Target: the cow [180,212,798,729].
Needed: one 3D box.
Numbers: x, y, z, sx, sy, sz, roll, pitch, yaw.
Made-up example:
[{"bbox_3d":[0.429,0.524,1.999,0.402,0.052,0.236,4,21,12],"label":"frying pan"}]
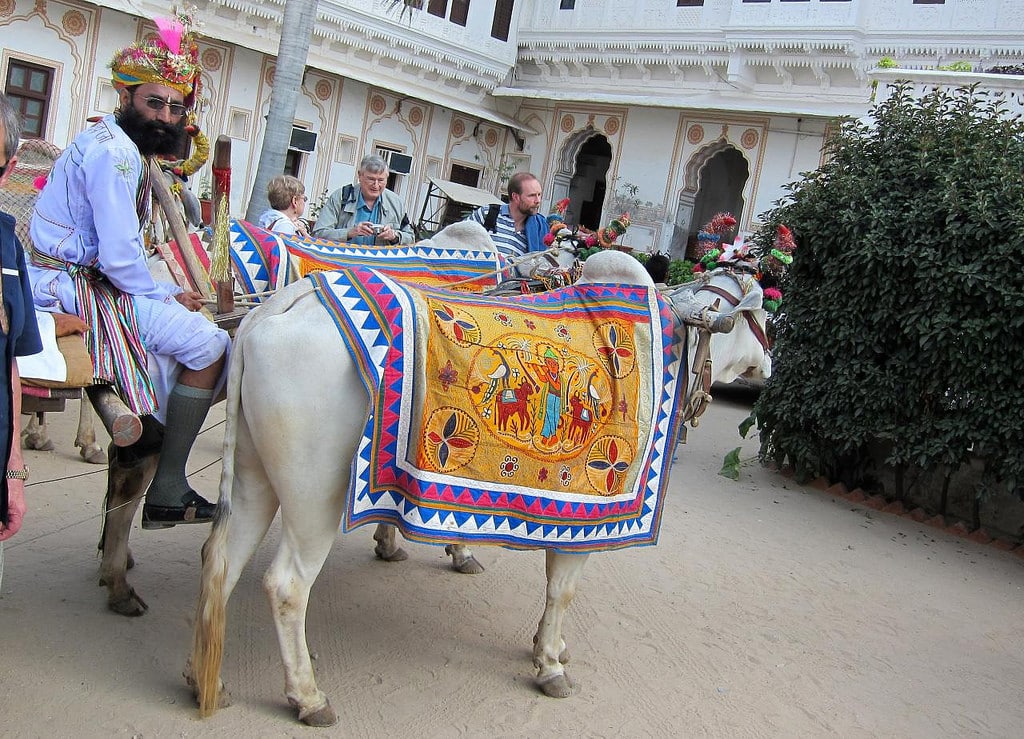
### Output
[{"bbox_3d":[-0.187,0.607,4.619,2.883,2.583,1.179,2,-3,-15],"label":"cow"}]
